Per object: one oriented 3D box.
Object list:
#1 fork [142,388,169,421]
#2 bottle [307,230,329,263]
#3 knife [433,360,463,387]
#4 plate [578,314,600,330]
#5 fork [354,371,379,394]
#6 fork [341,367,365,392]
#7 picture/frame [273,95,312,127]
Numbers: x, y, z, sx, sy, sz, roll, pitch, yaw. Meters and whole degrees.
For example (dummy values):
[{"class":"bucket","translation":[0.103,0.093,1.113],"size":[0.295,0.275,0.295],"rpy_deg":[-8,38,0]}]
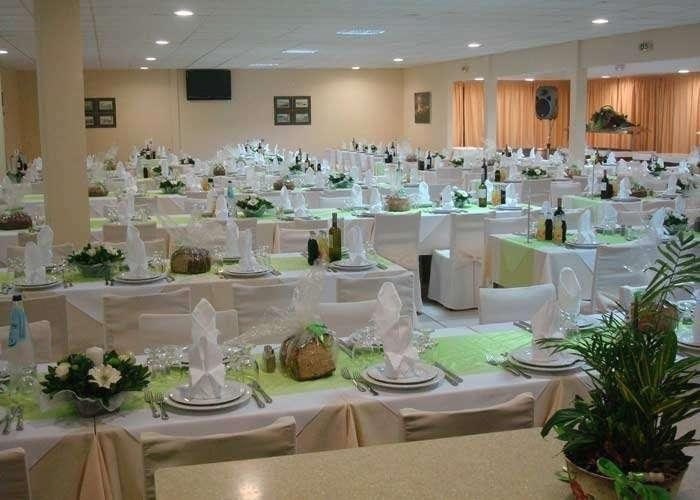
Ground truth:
[{"class":"fork","translation":[-0.805,0.640,2.040],"size":[0.060,0.030,0.254],"rpy_deg":[-3,19,-13]},{"class":"bottle","translation":[-0.270,-0.028,4.225],"size":[0.243,0.381,0.153],"rpy_deg":[1,5,-2]},{"class":"knife","translation":[0.457,0.565,2.285],"size":[0.039,0.029,0.157],"rpy_deg":[0,10,-10]},{"class":"plate","translation":[1.362,0.411,2.794],"size":[0.115,0.020,0.115],"rpy_deg":[-14,16,-33]},{"class":"fork","translation":[0.066,0.577,2.183],"size":[0.036,0.045,0.286],"rpy_deg":[-2,9,-10]},{"class":"fork","translation":[0.018,0.587,2.228],"size":[0.041,0.033,0.208],"rpy_deg":[-13,16,-8]},{"class":"picture/frame","translation":[-2.291,-5.536,19.420],"size":[1.444,1.058,0.200],"rpy_deg":[-5,8,-16]}]
